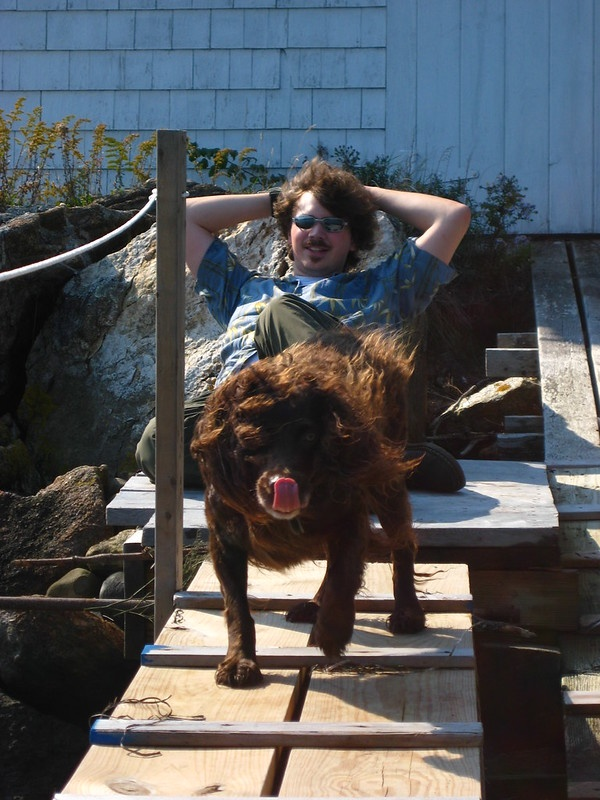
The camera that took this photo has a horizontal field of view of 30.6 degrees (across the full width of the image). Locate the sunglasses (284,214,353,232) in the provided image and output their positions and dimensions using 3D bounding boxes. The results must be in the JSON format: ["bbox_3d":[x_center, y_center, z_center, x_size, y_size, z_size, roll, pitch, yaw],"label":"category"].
[{"bbox_3d":[0.075,-0.593,3.706,0.179,0.056,0.050,2,21,-3],"label":"sunglasses"}]

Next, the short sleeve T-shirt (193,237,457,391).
[{"bbox_3d":[0.170,-0.346,3.724,0.396,0.564,0.246,33,65,23],"label":"short sleeve T-shirt"}]

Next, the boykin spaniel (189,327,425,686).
[{"bbox_3d":[0.054,0.257,2.716,0.431,0.809,0.635,20,27,38],"label":"boykin spaniel"}]

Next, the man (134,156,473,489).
[{"bbox_3d":[0.026,-0.245,3.600,1.037,1.200,0.684,1,-18,5],"label":"man"}]

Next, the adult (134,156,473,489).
[{"bbox_3d":[0.052,-0.242,3.616,1.019,1.185,0.667,0,-16,3],"label":"adult"}]

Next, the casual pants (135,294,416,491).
[{"bbox_3d":[-0.035,0.003,3.230,0.715,0.228,0.654,-11,11,9],"label":"casual pants"}]
